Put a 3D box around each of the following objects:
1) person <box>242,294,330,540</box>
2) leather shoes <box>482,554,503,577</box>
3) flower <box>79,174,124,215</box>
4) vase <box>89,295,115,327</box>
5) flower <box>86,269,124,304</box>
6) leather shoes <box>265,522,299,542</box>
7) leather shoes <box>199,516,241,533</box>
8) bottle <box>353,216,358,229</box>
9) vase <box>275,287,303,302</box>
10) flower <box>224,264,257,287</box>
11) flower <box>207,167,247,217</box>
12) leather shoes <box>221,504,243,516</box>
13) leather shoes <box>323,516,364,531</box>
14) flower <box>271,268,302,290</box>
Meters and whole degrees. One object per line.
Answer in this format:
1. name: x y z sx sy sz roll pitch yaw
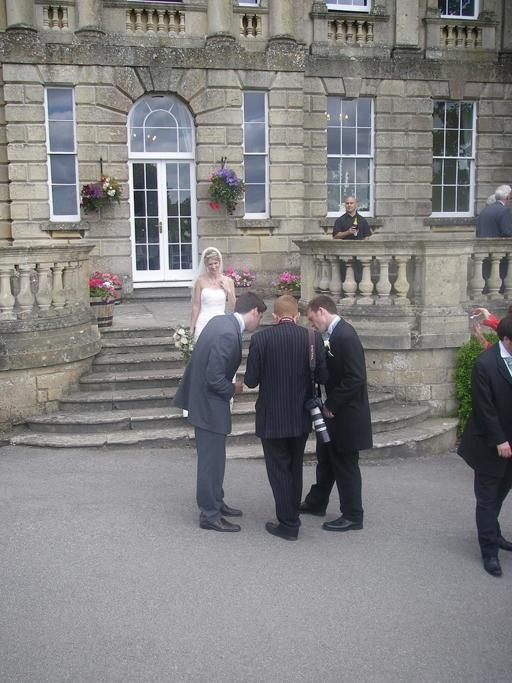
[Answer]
1. person: 0.212 0.580 7.324 0.591 1.815 0.384 1 12 1
2. leather shoes: 1.669 1.574 6.943 0.131 0.112 0.161 3 13 10
3. flower: -2.457 -2.322 15.588 0.660 0.587 0.505 -1 13 -10
4. vase: -1.931 -0.375 12.383 0.295 0.321 0.328 -1 1 -17
5. flower: -1.981 -0.695 12.737 0.610 0.361 0.624 3 8 -6
6. leather shoes: 0.197 1.419 7.488 0.105 0.119 0.273 -2 11 -35
7. leather shoes: -0.277 1.380 7.531 0.246 0.095 0.125 1 4 4
8. bottle: 1.243 -1.506 12.395 0.063 0.134 0.155 4 13 14
9. vase: 0.474 -0.723 14.577 0.305 0.118 0.491 3 9 19
10. flower: -0.237 -0.994 15.263 0.403 0.237 0.449 7 7 -3
11. flower: -0.478 -2.439 16.022 0.584 0.803 0.599 -1 13 -8
12. leather shoes: -0.209 1.361 7.958 0.218 0.090 0.075 0 2 8
13. leather shoes: 0.669 1.421 7.677 0.239 0.098 0.124 3 -5 -9
14. flower: 0.481 -0.883 14.711 0.401 0.296 0.407 -2 8 -2
